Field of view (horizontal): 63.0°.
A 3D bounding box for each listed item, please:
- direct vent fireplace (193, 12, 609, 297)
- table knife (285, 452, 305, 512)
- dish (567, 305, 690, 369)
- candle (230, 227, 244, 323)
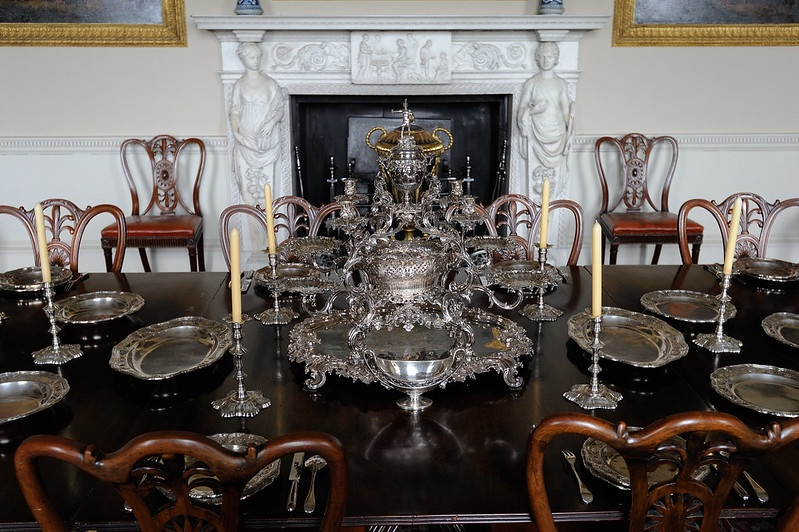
[{"bbox_3d":[0.005,-0.753,3.809,1.856,1.221,0.280,-1,16,0],"label":"direct vent fireplace"},{"bbox_3d":[-0.278,0.566,1.748,0.024,0.032,0.214,3,25,-4],"label":"table knife"},{"bbox_3d":[0.809,0.237,2.297,0.238,0.026,0.228,18,32,37],"label":"dish"},{"bbox_3d":[-0.493,0.021,1.953,0.037,0.298,0.187,-4,13,-14],"label":"candle"}]
